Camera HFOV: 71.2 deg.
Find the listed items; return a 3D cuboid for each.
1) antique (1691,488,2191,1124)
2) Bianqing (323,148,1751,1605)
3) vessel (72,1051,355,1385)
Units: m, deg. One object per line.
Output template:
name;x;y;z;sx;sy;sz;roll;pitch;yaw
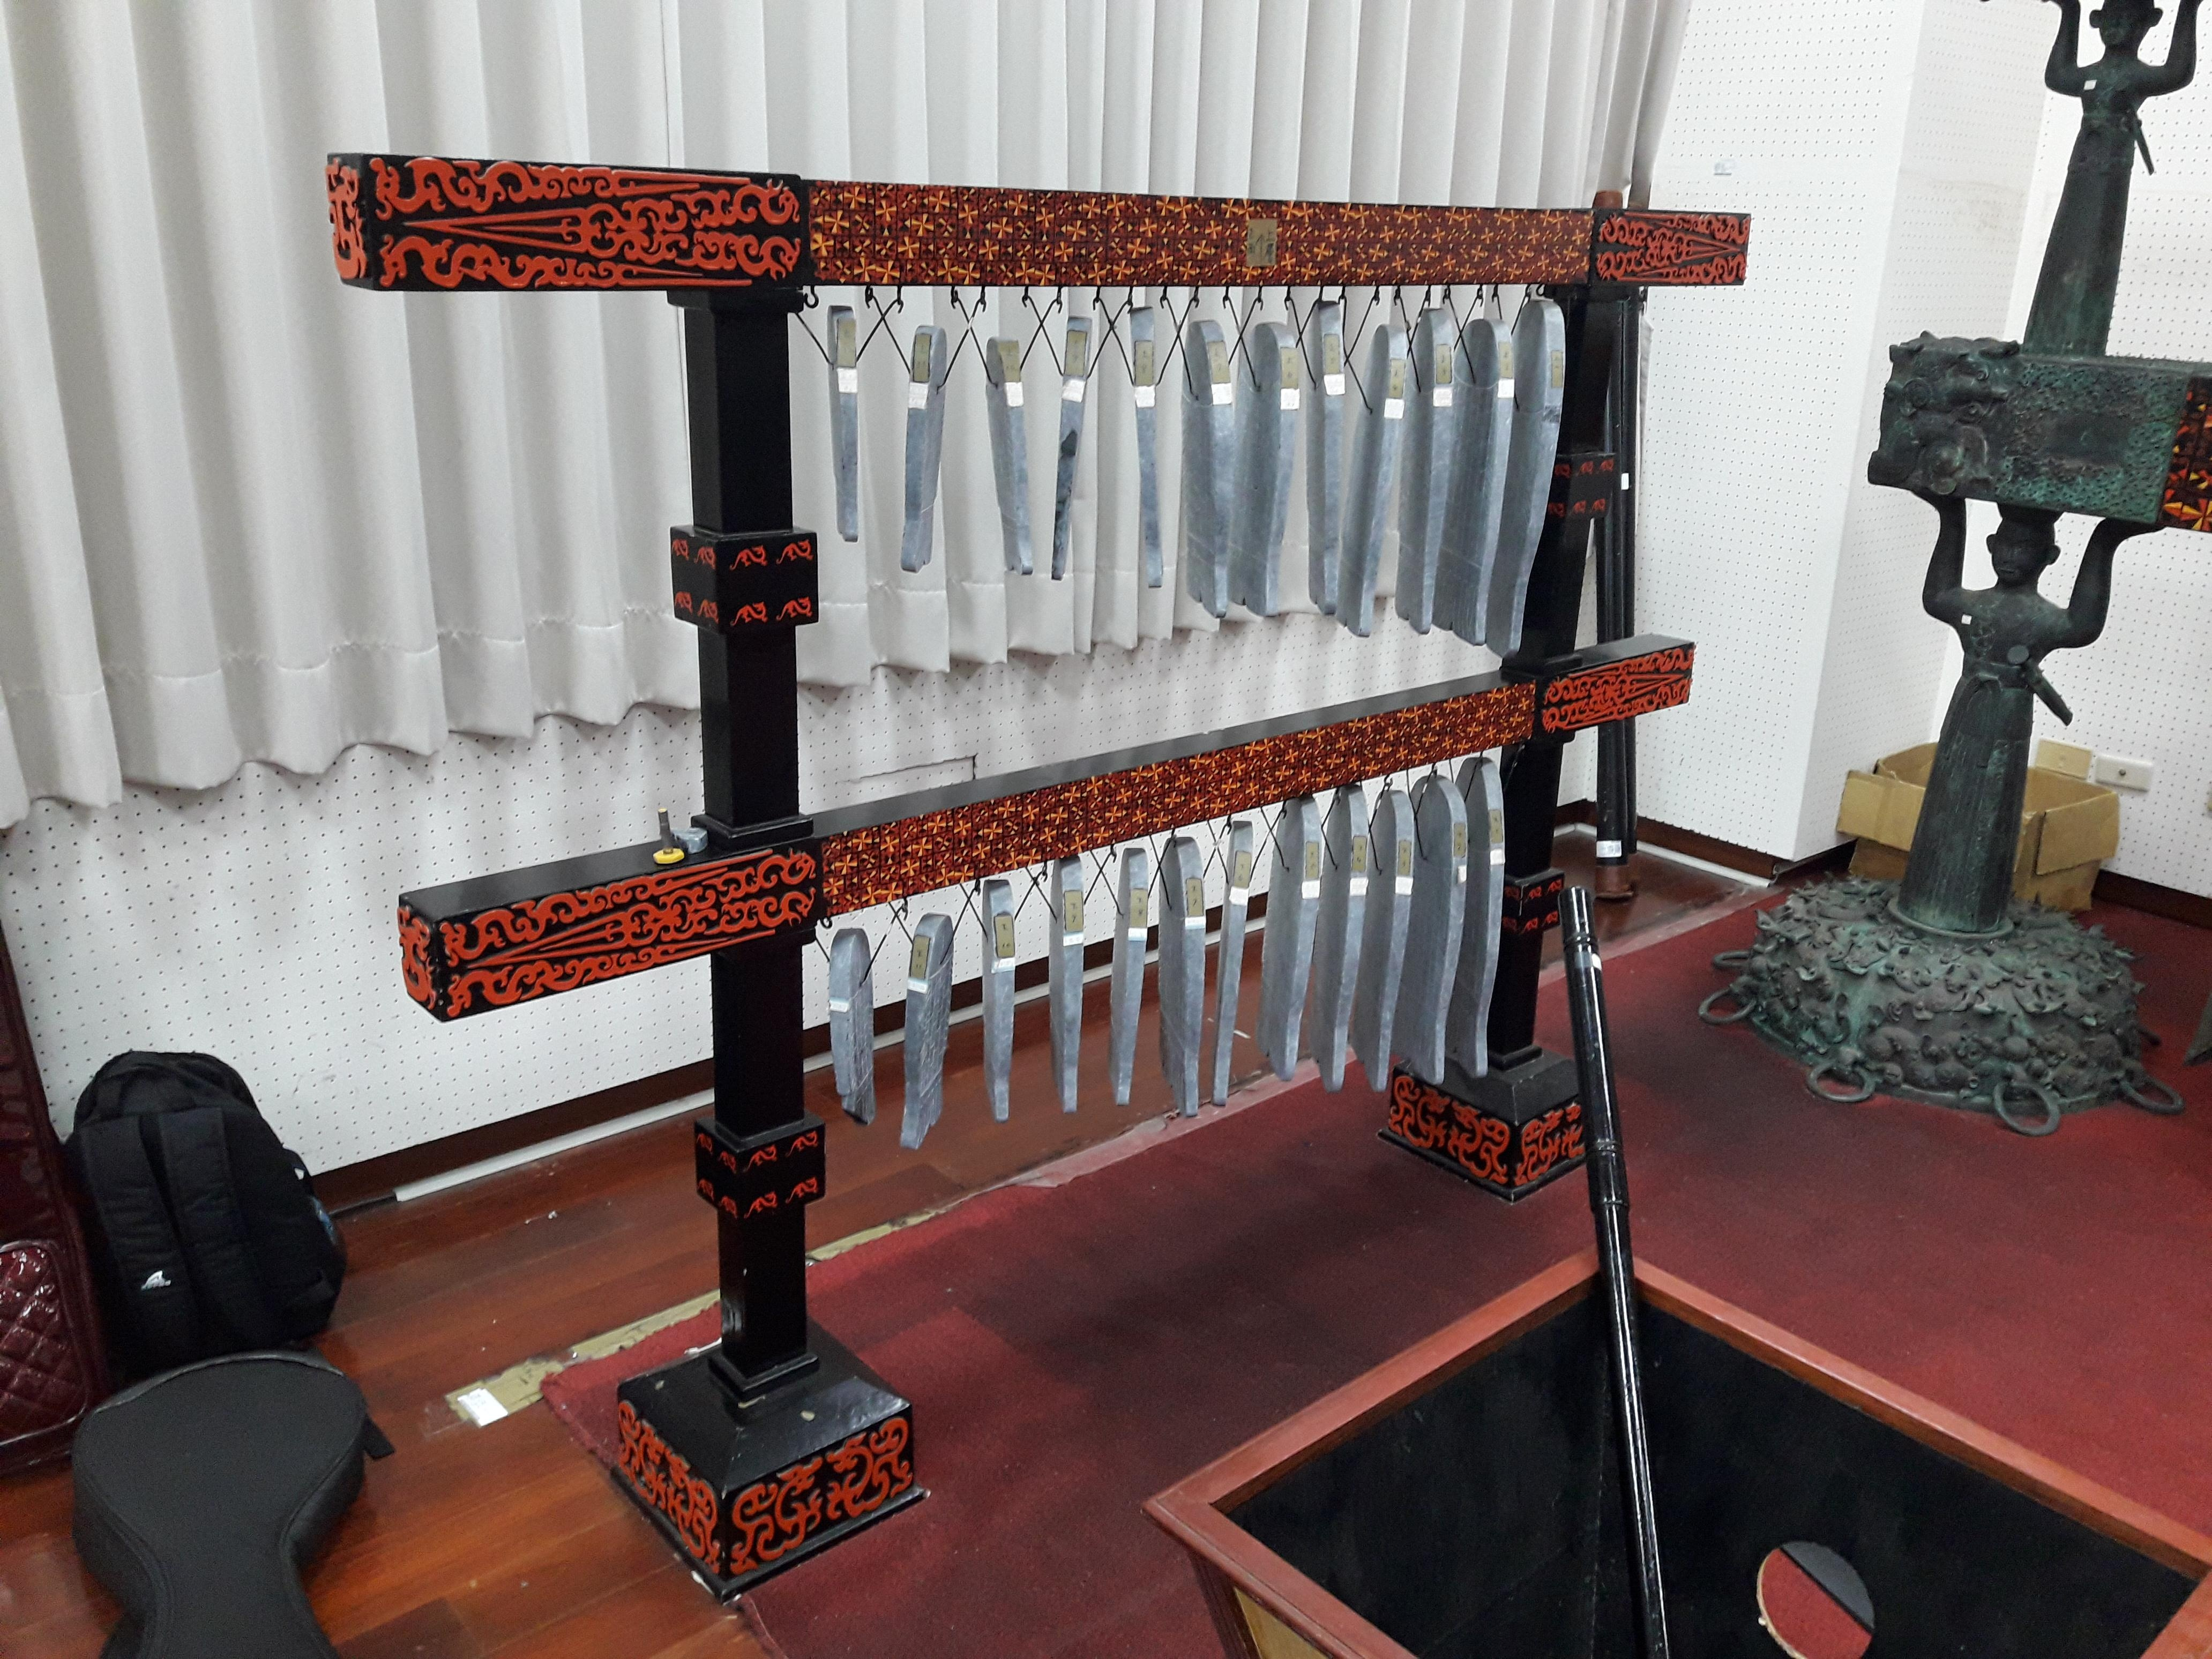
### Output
antique;2.249;-0.158;3.979;1.060;1.462;1.158;-18;26;-34
Bianqing;0.163;0.020;2.870;2.552;2.269;0.435;-10;25;-26
vessel;-1.691;0.679;2.948;0.433;0.687;0.348;-5;17;-8
